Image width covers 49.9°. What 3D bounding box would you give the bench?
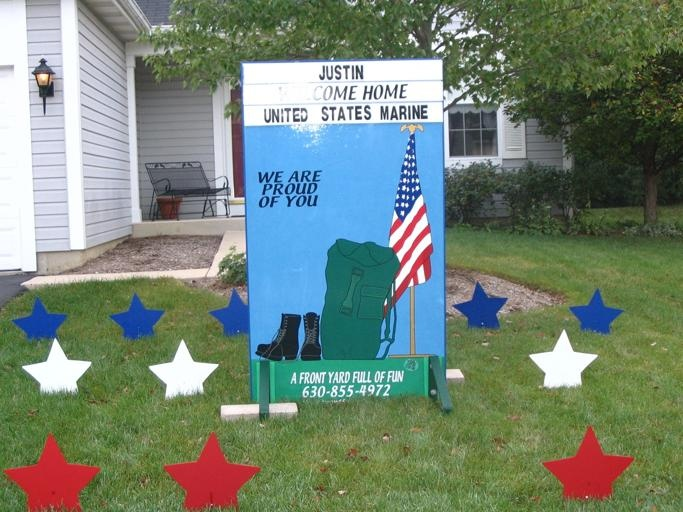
[{"bbox_3d":[-3.322,-1.407,15.486,1.818,1.219,1.307,-2,3,-4],"label":"bench"}]

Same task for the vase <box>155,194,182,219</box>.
[{"bbox_3d":[-3.672,-1.035,15.430,0.532,0.645,0.509,0,-5,-5],"label":"vase"}]

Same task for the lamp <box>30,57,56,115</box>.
[{"bbox_3d":[-4.548,-2.547,11.142,0.253,0.803,0.227,-1,3,-4],"label":"lamp"}]
